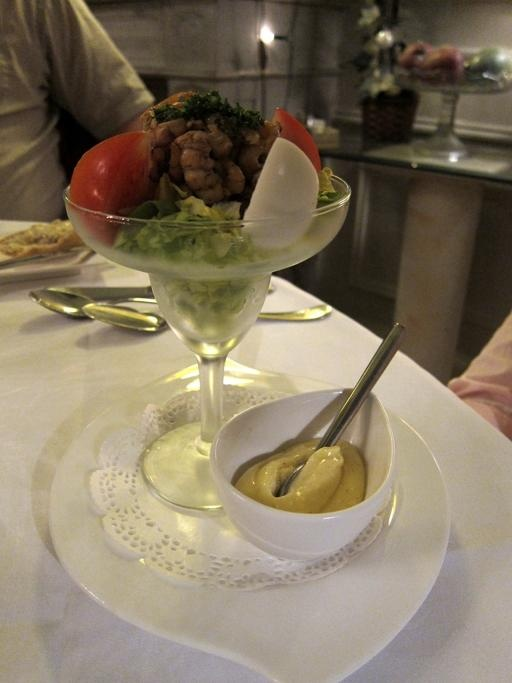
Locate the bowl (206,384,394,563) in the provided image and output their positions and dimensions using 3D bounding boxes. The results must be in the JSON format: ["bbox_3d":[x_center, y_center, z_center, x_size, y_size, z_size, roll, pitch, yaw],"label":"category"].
[{"bbox_3d":[0.027,0.079,0.350,0.087,0.043,0.117,19,31,30],"label":"bowl"}]

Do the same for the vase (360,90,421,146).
[{"bbox_3d":[0.425,-0.708,1.824,0.178,0.119,0.174,-1,29,2],"label":"vase"}]

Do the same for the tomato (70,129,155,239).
[{"bbox_3d":[-0.090,-0.094,0.351,0.050,0.061,0.083,-5,29,-16],"label":"tomato"}]

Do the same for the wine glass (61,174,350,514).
[{"bbox_3d":[-0.026,-0.040,0.533,0.246,0.284,0.245,-15,36,-26],"label":"wine glass"}]

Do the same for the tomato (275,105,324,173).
[{"bbox_3d":[0.031,-0.137,0.385,0.023,0.019,0.068,16,-11,17],"label":"tomato"}]

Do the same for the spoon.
[{"bbox_3d":[-0.085,-0.029,0.564,0.183,0.019,0.055,4,19,1],"label":"spoon"}]
